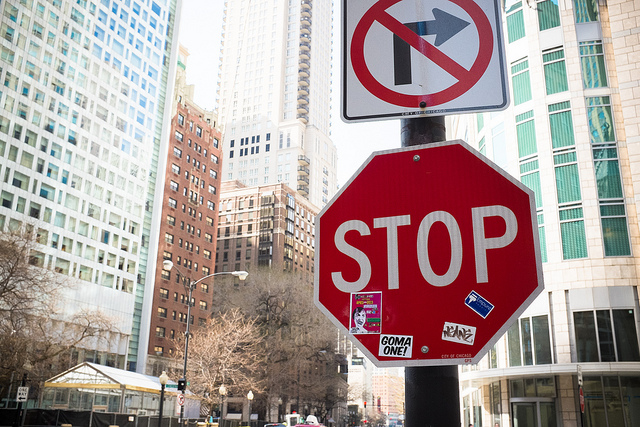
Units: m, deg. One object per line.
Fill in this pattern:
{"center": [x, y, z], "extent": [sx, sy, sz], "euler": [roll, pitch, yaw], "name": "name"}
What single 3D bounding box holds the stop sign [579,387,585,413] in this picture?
{"center": [11.797, 8.395, 25.885], "extent": [0.184, 1.092, 1.651], "euler": [-8, -22, 21], "name": "stop sign"}
